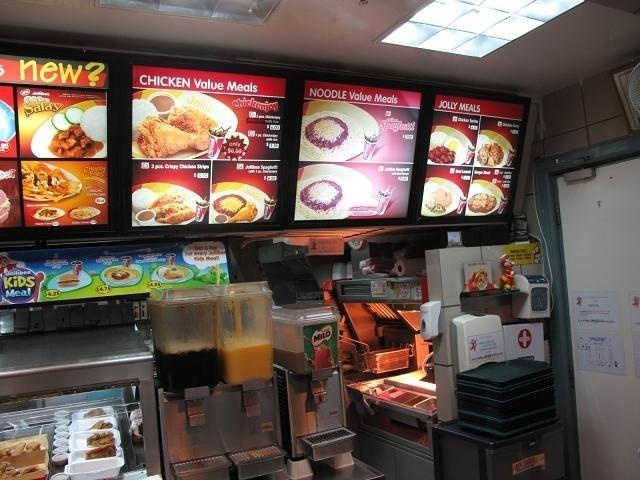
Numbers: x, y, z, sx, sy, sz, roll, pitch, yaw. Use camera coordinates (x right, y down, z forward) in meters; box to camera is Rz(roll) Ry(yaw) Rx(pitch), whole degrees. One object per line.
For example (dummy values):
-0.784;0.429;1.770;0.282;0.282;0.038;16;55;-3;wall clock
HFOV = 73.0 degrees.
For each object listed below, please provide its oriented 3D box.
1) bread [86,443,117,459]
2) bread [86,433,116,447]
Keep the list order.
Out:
-1.008;0.980;2.009;0.076;0.026;0.055;-4;-6;-17;bread
-1.052;0.964;2.085;0.079;0.031;0.060;0;3;-8;bread
